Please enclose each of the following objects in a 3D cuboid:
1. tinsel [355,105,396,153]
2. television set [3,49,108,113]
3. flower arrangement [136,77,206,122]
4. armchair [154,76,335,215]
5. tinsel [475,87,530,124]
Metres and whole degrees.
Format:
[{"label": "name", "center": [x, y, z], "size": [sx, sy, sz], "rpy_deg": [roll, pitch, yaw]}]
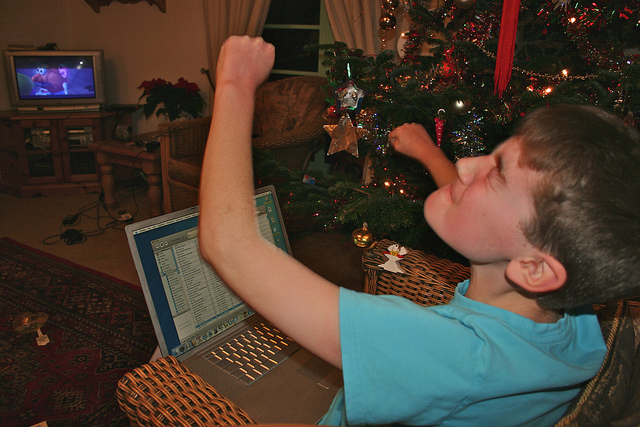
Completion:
[{"label": "tinsel", "center": [0.267, -0.456, 2.483], "size": [0.179, 0.250, 0.190], "rpy_deg": [-4, 21, -9]}, {"label": "television set", "center": [-2.558, -1.292, 4.630], "size": [0.858, 0.628, 0.170], "rpy_deg": [-2, 28, -19]}, {"label": "flower arrangement", "center": [-1.429, -1.120, 4.635], "size": [0.501, 0.309, 0.494], "rpy_deg": [4, 16, 24]}, {"label": "armchair", "center": [-0.365, -0.657, 3.965], "size": [1.280, 1.356, 1.430], "rpy_deg": [-13, 25, -39]}, {"label": "tinsel", "center": [0.890, -0.509, 2.343], "size": [0.258, 0.142, 0.195], "rpy_deg": [-41, 22, -27]}]
